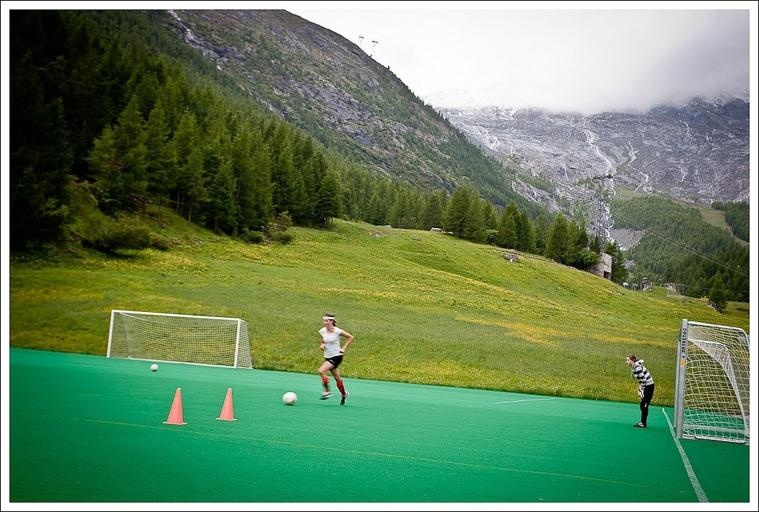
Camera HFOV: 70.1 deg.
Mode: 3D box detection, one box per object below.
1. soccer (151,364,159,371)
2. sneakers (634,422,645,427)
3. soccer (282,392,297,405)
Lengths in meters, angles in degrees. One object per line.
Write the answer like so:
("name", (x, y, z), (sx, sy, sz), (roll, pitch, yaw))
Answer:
("soccer", (-10.567, 5.218, 25.447), (0.372, 0.203, 0.362), (21, -23, -28))
("sneakers", (9.917, 6.449, 20.700), (0.416, 0.182, 0.172), (-2, -8, 37))
("soccer", (-3.292, 5.221, 19.894), (0.436, 0.396, 0.529), (3, 1, -17))
